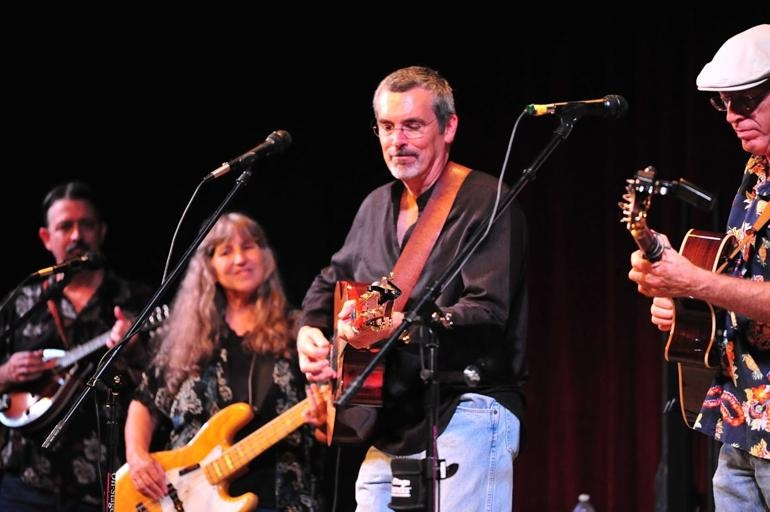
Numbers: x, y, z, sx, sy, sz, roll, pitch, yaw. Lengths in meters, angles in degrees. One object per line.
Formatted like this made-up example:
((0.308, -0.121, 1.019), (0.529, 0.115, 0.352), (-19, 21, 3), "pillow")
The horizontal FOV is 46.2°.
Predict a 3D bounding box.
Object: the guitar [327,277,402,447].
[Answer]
((-0.144, 0.570, 5.096), (0.349, 0.924, 0.955), (-1, -11, -5), "guitar")

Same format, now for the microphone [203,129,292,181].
((-0.968, -0.699, 6.311), (0.707, 0.174, 0.188), (-31, -37, -18), "microphone")

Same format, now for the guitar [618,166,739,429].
((1.749, 0.244, 5.284), (0.311, 0.702, 1.624), (13, -21, 33), "guitar")
